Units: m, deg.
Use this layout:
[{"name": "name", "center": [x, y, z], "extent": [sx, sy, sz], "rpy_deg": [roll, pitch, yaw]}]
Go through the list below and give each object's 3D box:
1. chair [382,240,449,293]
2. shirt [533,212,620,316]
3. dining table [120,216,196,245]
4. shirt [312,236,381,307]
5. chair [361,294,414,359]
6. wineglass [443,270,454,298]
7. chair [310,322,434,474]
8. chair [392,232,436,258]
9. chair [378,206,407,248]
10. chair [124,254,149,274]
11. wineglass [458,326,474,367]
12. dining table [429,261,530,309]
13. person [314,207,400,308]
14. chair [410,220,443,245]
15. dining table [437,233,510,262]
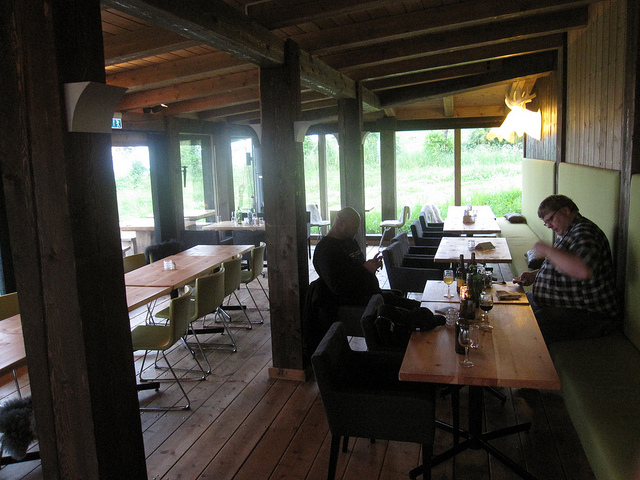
[{"name": "chair", "center": [1.198, 0.394, 6.106], "extent": [0.686, 0.712, 0.643], "rpy_deg": [-2, 13, 10]}, {"name": "shirt", "center": [2.325, 0.207, 4.430], "extent": [0.684, 0.956, 1.123], "rpy_deg": [-6, 7, 4]}, {"name": "dining table", "center": [-3.327, -0.319, 9.233], "extent": [0.771, 0.794, 0.805], "rpy_deg": [0, 1, 10]}, {"name": "shirt", "center": [0.258, 0.298, 4.634], "extent": [0.588, 0.674, 0.323], "rpy_deg": [-7, 10, -31]}, {"name": "chair", "center": [0.513, 0.657, 3.669], "extent": [0.362, 0.521, 0.365], "rpy_deg": [8, 46, 21]}, {"name": "wineglass", "center": [1.167, 0.381, 4.278], "extent": [0.083, 0.201, 0.327], "rpy_deg": [1, 9, 16]}, {"name": "chair", "center": [0.359, 1.051, 3.633], "extent": [0.950, 1.256, 0.840], "rpy_deg": [0, 9, 14]}, {"name": "chair", "center": [1.348, 0.106, 6.844], "extent": [0.516, 0.571, 0.387], "rpy_deg": [-1, 13, 6]}, {"name": "chair", "center": [1.757, -0.339, 11.384], "extent": [0.755, 1.230, 0.868], "rpy_deg": [0, 9, 4]}, {"name": "chair", "center": [-2.436, 0.304, 6.221], "extent": [0.203, 0.371, 0.233], "rpy_deg": [-9, 5, -36]}, {"name": "wineglass", "center": [0.944, 0.676, 3.063], "extent": [0.100, 0.224, 0.207], "rpy_deg": [1, 9, 17]}, {"name": "dining table", "center": [1.395, 0.431, 4.159], "extent": [0.563, 0.235, 0.976], "rpy_deg": [-1, 6, 15]}, {"name": "person", "center": [0.422, 0.166, 4.581], "extent": [0.743, 0.948, 0.730], "rpy_deg": [-9, 12, -41]}, {"name": "chair", "center": [1.774, -0.090, 7.860], "extent": [0.538, 0.590, 0.396], "rpy_deg": [-2, 15, 5]}, {"name": "dining table", "center": [1.965, 0.100, 6.067], "extent": [0.496, 0.197, 0.802], "rpy_deg": [-1, 8, 14]}]
